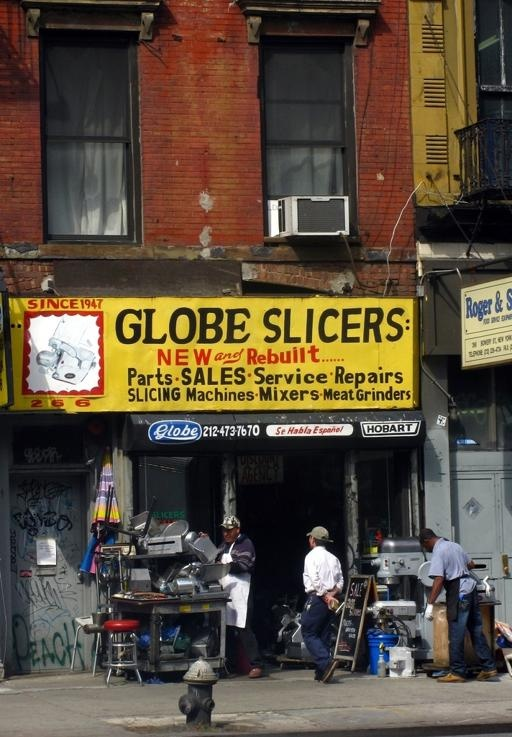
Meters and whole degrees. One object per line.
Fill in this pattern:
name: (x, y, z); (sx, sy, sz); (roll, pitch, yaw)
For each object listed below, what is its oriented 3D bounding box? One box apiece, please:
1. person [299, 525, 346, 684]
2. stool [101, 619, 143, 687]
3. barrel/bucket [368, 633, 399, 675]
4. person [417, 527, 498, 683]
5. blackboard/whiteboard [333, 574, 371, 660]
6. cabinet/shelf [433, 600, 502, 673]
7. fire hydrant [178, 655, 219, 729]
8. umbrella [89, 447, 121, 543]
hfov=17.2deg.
person: (0.673, 2.538, 18.345); (0.469, 1.494, 0.593); (3, 0, -26)
stool: (-1.441, 3.061, 18.353); (0.386, 0.684, 1.198); (-2, -8, -5)
barrel/bucket: (1.449, 3.221, 19.053); (0.359, 0.554, 0.400); (0, -3, 7)
person: (2.159, 2.542, 18.252); (0.693, 1.599, 0.562); (-1, -4, 14)
blackboard/whiteboard: (1.095, 2.850, 19.328); (0.392, 0.959, 0.412); (0, -1, -5)
cabinet/shelf: (2.317, 2.975, 18.818); (0.572, 0.793, 0.642); (2, -5, -27)
fire hydrant: (-0.528, 2.914, 15.212); (0.330, 0.608, 0.266); (-2, -6, -4)
umbrella: (-1.788, 1.460, 19.504); (0.370, 1.008, 0.399); (-5, -7, 26)
